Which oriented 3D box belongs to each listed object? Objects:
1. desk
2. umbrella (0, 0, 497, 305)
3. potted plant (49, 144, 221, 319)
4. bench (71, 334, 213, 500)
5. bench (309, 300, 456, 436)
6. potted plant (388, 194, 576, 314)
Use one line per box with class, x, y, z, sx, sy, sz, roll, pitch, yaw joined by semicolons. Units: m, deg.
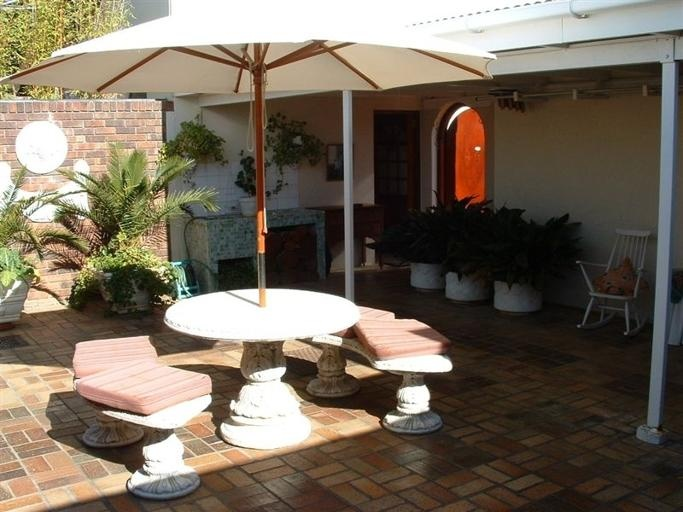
desk;-0.687;0.912;4.771;1.697;0.869;1.477;0;9;-5
umbrella;-0.582;-0.771;4.765;3.478;2.263;3.062;5;12;26
potted plant;-3.500;-0.376;9.002;2.649;2.404;2.862;4;0;-8
bench;-1.588;1.246;4.422;1.058;0.736;1.795;3;0;-37
bench;0.330;1.050;5.379;0.969;0.759;1.839;-6;8;-37
potted plant;2.703;-0.193;8.977;1.890;0.821;2.527;-12;17;-38
